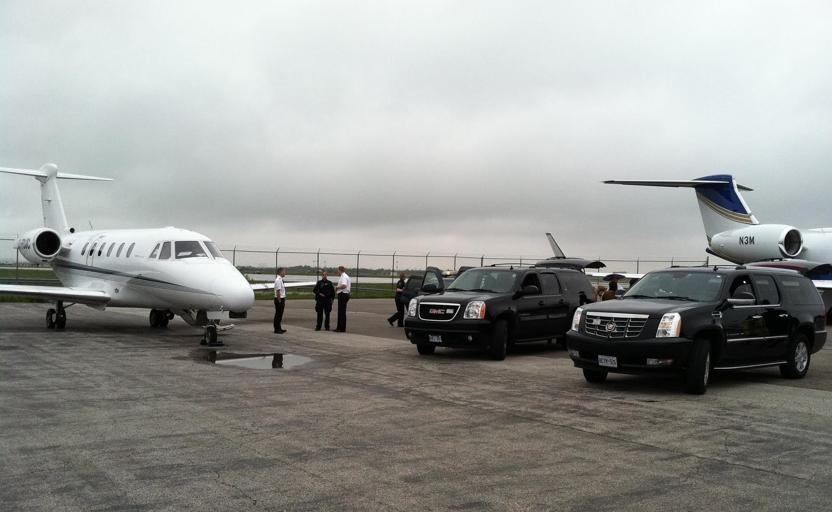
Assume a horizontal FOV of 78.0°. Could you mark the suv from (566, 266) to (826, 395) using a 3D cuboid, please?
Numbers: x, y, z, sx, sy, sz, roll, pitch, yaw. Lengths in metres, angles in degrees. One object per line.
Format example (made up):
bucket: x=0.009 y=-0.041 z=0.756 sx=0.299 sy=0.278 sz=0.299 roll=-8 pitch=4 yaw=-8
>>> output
suv: x=6.245 y=1.624 z=11.562 sx=5.308 sy=1.917 sz=2.924 roll=5 pitch=-9 yaw=-32

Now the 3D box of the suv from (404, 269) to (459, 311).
suv: x=0.439 y=1.279 z=21.930 sx=2.489 sy=1.731 sz=3.225 roll=1 pitch=-4 yaw=-3

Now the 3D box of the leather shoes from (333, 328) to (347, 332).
leather shoes: x=-3.061 y=2.979 z=20.257 sx=0.536 sy=0.192 sz=0.171 roll=5 pitch=2 yaw=11
